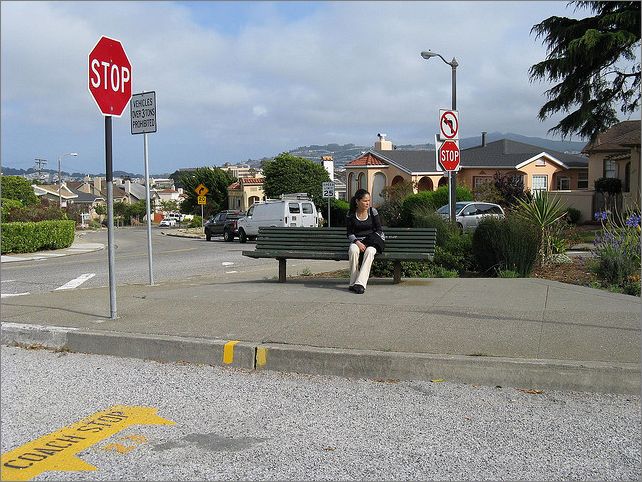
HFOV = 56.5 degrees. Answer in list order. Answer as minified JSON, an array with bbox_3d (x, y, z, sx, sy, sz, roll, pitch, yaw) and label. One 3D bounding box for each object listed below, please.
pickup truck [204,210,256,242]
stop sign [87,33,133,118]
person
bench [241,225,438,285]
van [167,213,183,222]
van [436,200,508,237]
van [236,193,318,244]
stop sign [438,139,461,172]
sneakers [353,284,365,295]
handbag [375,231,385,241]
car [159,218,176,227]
[{"bbox_3d":[-5.794,-0.892,36.879,1.596,1.598,3.346,-2,5,-34],"label":"pickup truck"},{"bbox_3d":[-2.839,-2.220,8.069,0.350,1.050,0.741,3,12,22],"label":"stop sign"},{"bbox_3d":[0.758,0.052,10.233,0.663,1.773,1.417,0,11,6],"label":"person"},{"bbox_3d":[0.264,0.295,11.012,3.487,1.112,1.007,0,7,18],"label":"bench"},{"bbox_3d":[-22.974,-3.723,94.558,1.534,1.676,2.782,-1,-8,2],"label":"van"},{"bbox_3d":[4.368,-0.658,17.593,2.264,1.139,1.310,4,-1,-21],"label":"van"},{"bbox_3d":[-2.205,-1.126,31.091,2.175,2.474,3.887,-2,6,-41],"label":"van"},{"bbox_3d":[3.008,-1.995,14.119,0.313,0.782,0.721,6,13,33],"label":"stop sign"},{"bbox_3d":[0.610,0.787,9.613,0.098,0.096,0.161,-6,-10,41],"label":"sneakers"},{"bbox_3d":[1.052,-0.078,10.369,0.111,0.058,0.157,29,-15,45],"label":"handbag"},{"bbox_3d":[-21.681,-2.541,84.839,1.319,1.111,2.181,0,-3,6],"label":"car"}]
